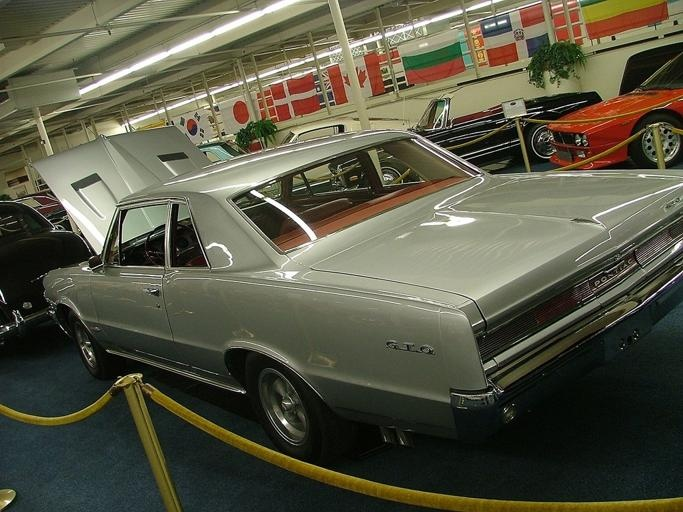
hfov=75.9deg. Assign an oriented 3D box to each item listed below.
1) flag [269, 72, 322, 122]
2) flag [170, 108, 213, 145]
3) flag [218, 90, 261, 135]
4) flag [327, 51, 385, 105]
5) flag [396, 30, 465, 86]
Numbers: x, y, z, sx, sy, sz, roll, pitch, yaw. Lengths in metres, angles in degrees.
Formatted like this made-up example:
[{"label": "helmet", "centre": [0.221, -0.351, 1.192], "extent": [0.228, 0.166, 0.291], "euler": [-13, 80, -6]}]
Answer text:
[{"label": "flag", "centre": [-2.109, -7.033, 19.691], "extent": [2.673, 1.727, 0.210], "euler": [-1, 14, 37]}, {"label": "flag", "centre": [-7.457, -6.429, 21.974], "extent": [3.143, 1.645, 0.042], "euler": [1, 15, 35]}, {"label": "flag", "centre": [-5.050, -7.045, 21.655], "extent": [0.278, 1.616, 2.562], "euler": [18, 39, 26]}, {"label": "flag", "centre": [0.625, -6.964, 17.257], "extent": [2.618, 1.619, 0.123], "euler": [-30, 39, -24]}, {"label": "flag", "centre": [3.466, -7.400, 16.423], "extent": [0.382, 1.570, 2.804], "euler": [-35, 28, -30]}]
